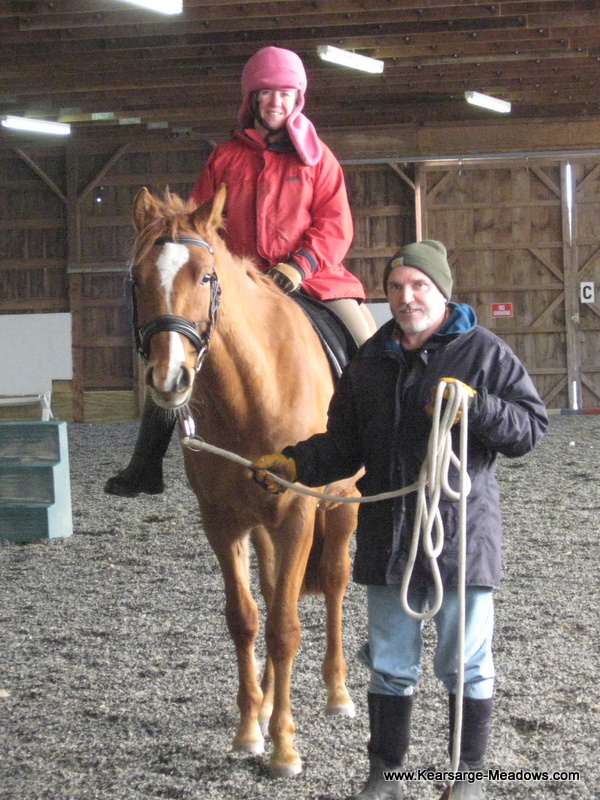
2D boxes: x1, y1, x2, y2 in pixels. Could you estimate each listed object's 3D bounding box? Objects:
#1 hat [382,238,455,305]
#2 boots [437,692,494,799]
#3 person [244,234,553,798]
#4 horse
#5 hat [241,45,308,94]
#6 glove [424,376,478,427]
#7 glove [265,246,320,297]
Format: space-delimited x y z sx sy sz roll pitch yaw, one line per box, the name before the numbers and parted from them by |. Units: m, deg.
hat | 0.480 -0.492 5.515 0.203 0.213 0.270 -9 -14 23
boots | 0.619 1.291 5.309 0.176 0.378 0.115 0 0 10
person | 0.437 0.440 5.417 0.906 2.104 0.447 1 0 28
horse | -0.126 0.492 6.174 0.667 2.152 2.719 -2 -10 15
hat | -0.120 -1.407 6.222 0.192 0.186 0.249 -1 -7 2
glove | 0.553 0.014 5.210 0.142 0.183 0.070 14 1 27
glove | -0.029 -0.552 6.135 0.142 0.225 0.094 37 -25 11
